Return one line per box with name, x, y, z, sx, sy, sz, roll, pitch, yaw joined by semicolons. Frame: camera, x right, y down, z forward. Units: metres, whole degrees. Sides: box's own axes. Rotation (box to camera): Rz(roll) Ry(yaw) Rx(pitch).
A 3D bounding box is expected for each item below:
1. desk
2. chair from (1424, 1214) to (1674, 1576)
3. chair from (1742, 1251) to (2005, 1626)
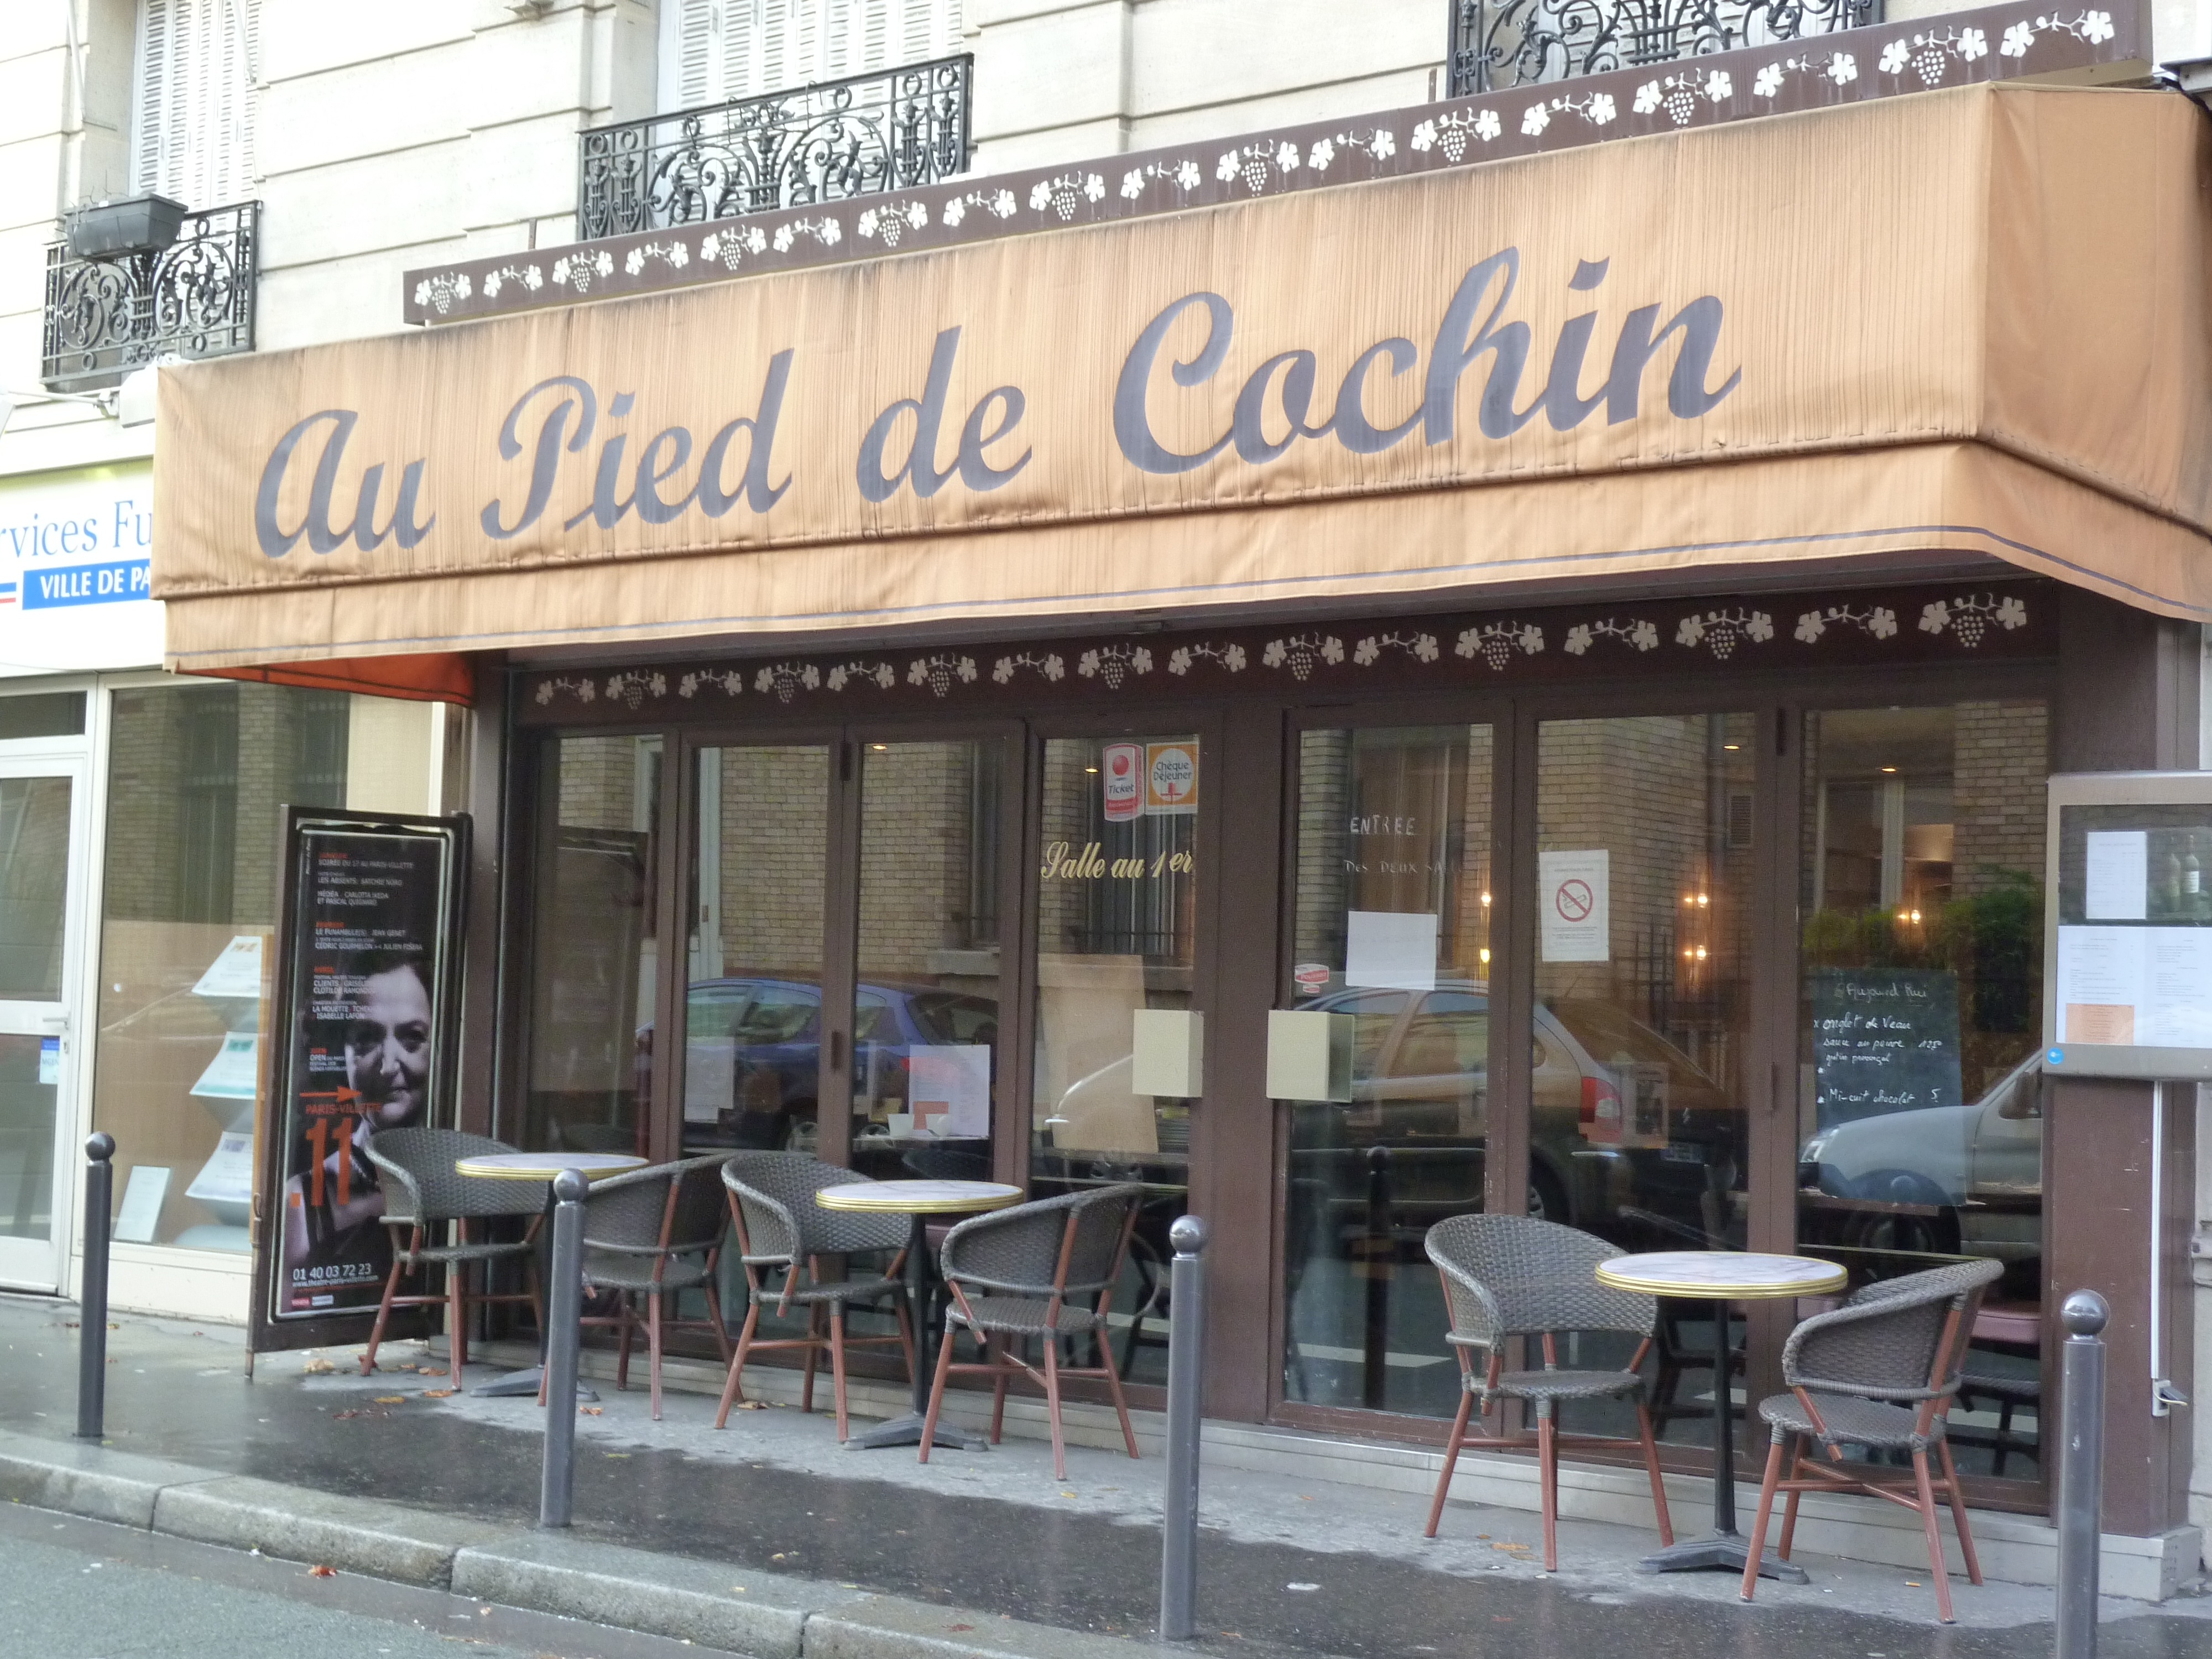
desk;2.404;2.146;11.069;0.954;1.224;1.059;0;-9;-2
chair;1.850;2.187;11.612;1.139;1.626;1.025;5;-11;-33
chair;2.720;2.223;10.831;1.045;1.615;1.207;0;-6;17
